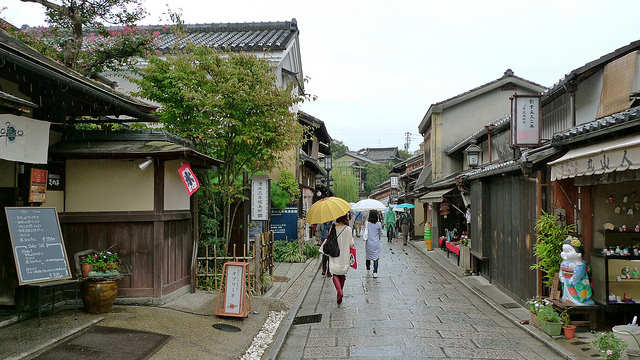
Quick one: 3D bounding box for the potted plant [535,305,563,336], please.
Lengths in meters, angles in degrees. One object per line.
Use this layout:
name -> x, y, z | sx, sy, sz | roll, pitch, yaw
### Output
potted plant -> 6.065, 3.659, 12.985 | 0.610, 0.484, 1.260 | -14, 4, 15

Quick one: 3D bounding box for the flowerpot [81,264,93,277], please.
flowerpot -> -6.150, 2.374, 12.815 | 0.291, 0.306, 0.290 | 1, -10, -18

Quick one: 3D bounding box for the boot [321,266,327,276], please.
boot -> 0.167, 3.620, 19.309 | 0.275, 0.384, 0.922 | 0, -7, 6

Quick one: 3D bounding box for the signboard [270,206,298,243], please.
signboard -> -1.737, 2.229, 23.683 | 1.859, 2.185, 0.219 | 0, -2, 7

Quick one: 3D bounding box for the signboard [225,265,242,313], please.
signboard -> -2.332, 2.953, 13.067 | 0.411, 1.238, 0.215 | 3, 6, 1

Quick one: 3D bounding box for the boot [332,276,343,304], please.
boot -> 0.579, 3.440, 15.279 | 0.291, 0.823, 0.397 | 5, 6, 18

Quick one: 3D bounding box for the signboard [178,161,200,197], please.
signboard -> -3.931, -0.036, 14.438 | 0.109, 0.927, 0.703 | -9, 28, 33

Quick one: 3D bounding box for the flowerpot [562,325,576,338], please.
flowerpot -> 6.352, 3.906, 12.368 | 0.231, 0.171, 0.233 | 0, -8, 2

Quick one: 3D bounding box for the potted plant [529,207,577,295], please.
potted plant -> 6.269, 1.995, 13.185 | 0.882, 2.149, 0.558 | 6, 7, 28

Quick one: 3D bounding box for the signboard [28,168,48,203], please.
signboard -> -7.487, 0.155, 12.873 | 0.268, 0.936, 0.487 | 8, 8, 40

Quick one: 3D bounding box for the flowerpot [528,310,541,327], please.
flowerpot -> 5.755, 3.726, 13.046 | 0.183, 0.330, 0.634 | 3, 5, 4

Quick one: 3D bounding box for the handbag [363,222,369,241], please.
handbag -> 1.753, 1.969, 18.250 | 0.152, 0.679, 0.388 | 3, 6, 4

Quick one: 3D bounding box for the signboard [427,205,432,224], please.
signboard -> 6.763, 2.249, 30.134 | 0.263, 1.555, 0.224 | 1, 7, 29

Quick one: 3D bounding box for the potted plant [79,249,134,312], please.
potted plant -> -6.006, 2.627, 13.178 | 1.254, 1.673, 1.485 | 5, 2, 41

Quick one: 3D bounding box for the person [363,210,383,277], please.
person -> 2.021, 2.423, 18.805 | 0.629, 2.641, 1.529 | 3, 6, 6

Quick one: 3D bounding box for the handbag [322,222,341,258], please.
handbag -> 0.358, 1.934, 15.383 | 0.356, 1.012, 0.621 | -3, 8, -42

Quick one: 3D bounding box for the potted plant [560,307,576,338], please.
potted plant -> 6.369, 3.666, 12.474 | 0.353, 0.725, 0.326 | 6, 7, 28

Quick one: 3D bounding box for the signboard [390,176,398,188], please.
signboard -> 7.909, 0.220, 51.687 | 1.050, 1.525, 1.062 | 0, 5, 9

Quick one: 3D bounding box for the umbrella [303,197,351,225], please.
umbrella -> 0.204, 0.952, 15.840 | 1.599, 0.592, 1.557 | -21, 13, -35
